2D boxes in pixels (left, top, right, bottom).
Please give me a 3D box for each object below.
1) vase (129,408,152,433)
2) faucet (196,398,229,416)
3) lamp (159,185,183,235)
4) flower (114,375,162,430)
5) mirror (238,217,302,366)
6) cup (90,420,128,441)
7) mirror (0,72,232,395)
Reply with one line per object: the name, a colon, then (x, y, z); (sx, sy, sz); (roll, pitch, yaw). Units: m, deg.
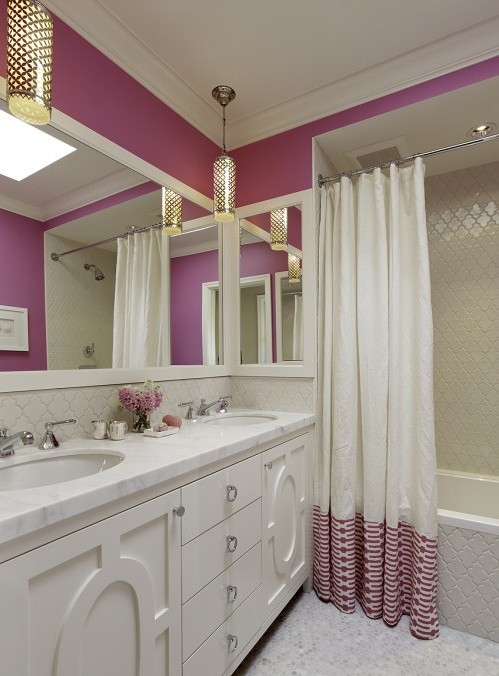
vase: (-0.416, 0.316, 1.889); (0.076, 0.098, 0.082); (1, -3, 6)
faucet: (-0.189, 0.348, 2.476); (0.172, 0.096, 0.059); (-8, -6, 25)
lamp: (-0.371, -0.600, 2.367); (0.080, 0.303, 0.078); (5, -39, -16)
flower: (-0.424, 0.259, 1.913); (0.164, 0.185, 0.153); (-5, 14, -20)
mirror: (0.127, -0.269, 2.617); (0.414, 0.788, 0.068); (1, 2, 42)
cup: (-0.496, 0.328, 1.722); (0.056, 0.064, 0.115); (-4, -15, 19)
mirror: (-0.539, -0.425, 1.944); (0.029, 0.883, 1.398); (-2, -1, 26)
